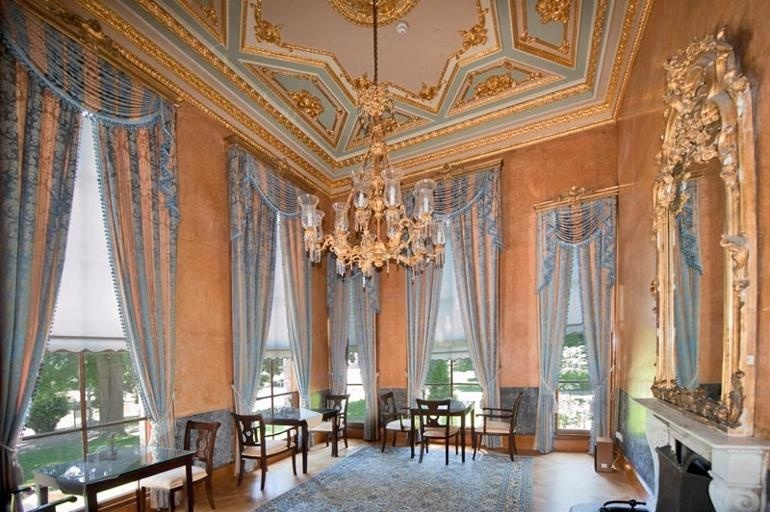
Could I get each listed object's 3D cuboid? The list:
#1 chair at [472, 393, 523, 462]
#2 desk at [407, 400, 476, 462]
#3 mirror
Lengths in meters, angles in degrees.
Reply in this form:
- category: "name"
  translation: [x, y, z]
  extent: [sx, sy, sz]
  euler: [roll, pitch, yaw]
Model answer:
- category: "chair"
  translation: [1.979, 2.948, 9.780]
  extent: [1.030, 1.472, 0.991]
  euler: [0, -13, 13]
- category: "desk"
  translation: [0.981, 2.811, 9.543]
  extent: [1.058, 1.448, 1.005]
  euler: [-1, -5, 19]
- category: "mirror"
  translation: [3.329, -0.269, 5.818]
  extent: [0.508, 3.925, 1.220]
  euler: [-2, 1, -3]
